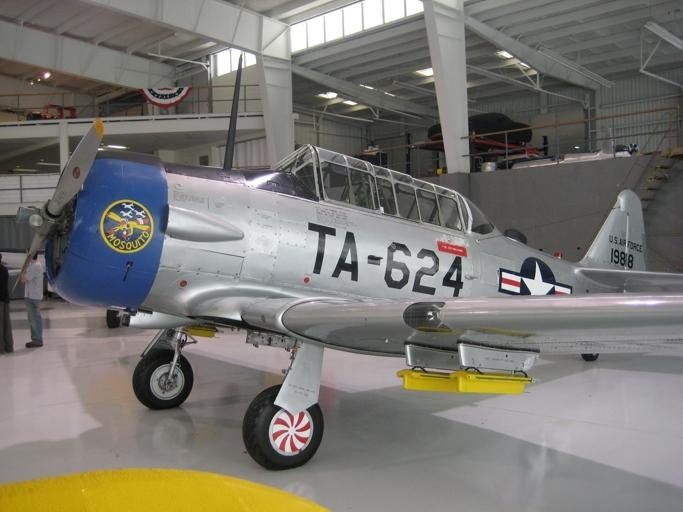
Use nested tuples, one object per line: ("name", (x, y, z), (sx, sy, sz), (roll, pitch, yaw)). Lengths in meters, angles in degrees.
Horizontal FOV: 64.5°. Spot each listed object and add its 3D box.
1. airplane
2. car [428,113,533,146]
("airplane", (0.191, 0.123, 4.179), (3.853, 1.488, 4.495), (7, -7, -30))
("car", (4.568, -3.685, 15.643), (2.561, 0.663, 1.812), (-1, 4, -27))
